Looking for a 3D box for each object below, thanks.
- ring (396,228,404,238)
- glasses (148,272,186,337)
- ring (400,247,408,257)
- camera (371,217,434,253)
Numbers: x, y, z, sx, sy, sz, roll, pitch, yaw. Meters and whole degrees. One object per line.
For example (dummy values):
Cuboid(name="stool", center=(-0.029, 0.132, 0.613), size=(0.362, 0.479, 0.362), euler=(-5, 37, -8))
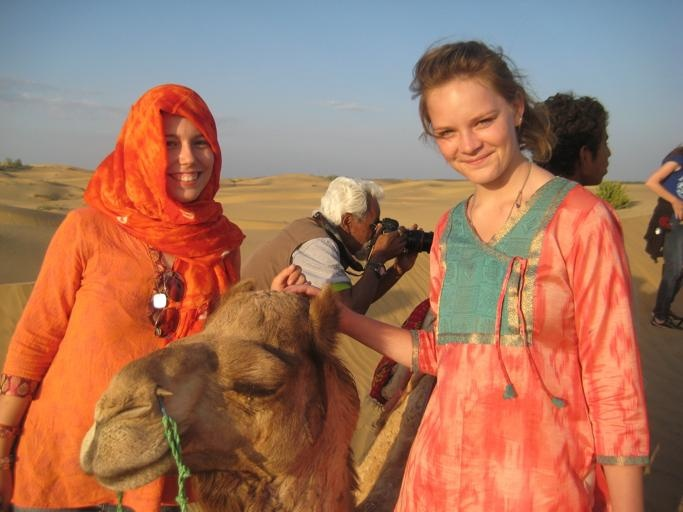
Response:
Cuboid(name="ring", center=(0.418, -0.163, 4.618), size=(0.025, 0.064, 0.044), euler=(30, -29, -31))
Cuboid(name="glasses", center=(-0.824, 0.223, 3.027), size=(0.169, 0.275, 0.069), euler=(-4, -5, 38))
Cuboid(name="ring", center=(0.456, -0.027, 4.671), size=(0.023, 0.060, 0.044), euler=(2, -6, 28))
Cuboid(name="camera", center=(0.462, -0.137, 4.689), size=(0.292, 0.183, 0.302), euler=(-1, -2, -8))
